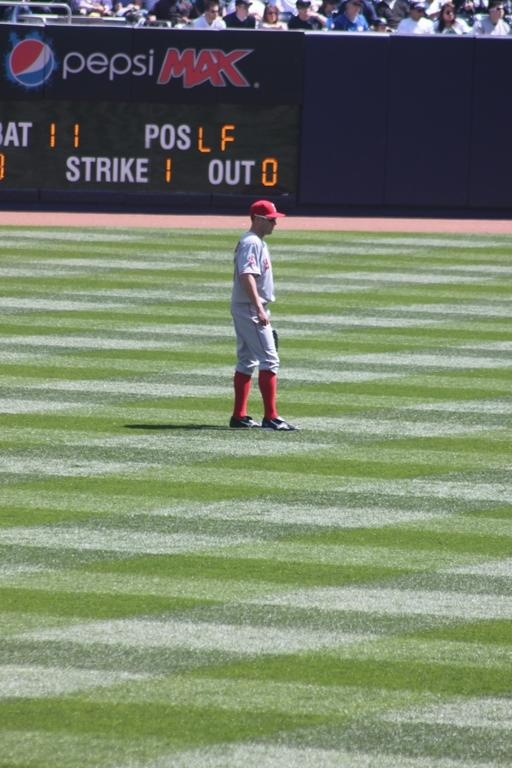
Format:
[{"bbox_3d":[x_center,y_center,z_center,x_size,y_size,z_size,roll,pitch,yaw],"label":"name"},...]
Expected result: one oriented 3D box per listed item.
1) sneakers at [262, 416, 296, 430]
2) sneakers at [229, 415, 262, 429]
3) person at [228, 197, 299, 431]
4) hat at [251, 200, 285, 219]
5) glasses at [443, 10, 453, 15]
[{"bbox_3d":[0.130,0.272,16.290,0.184,0.072,0.105,3,6,1],"label":"sneakers"},{"bbox_3d":[-0.095,0.273,16.388,0.232,0.099,0.089,1,32,-9],"label":"sneakers"},{"bbox_3d":[0.032,-0.478,16.250,0.450,1.598,0.436,3,2,-1],"label":"person"},{"bbox_3d":[0.055,-1.220,16.190,0.199,0.121,0.316,3,1,0],"label":"hat"},{"bbox_3d":[2.360,-4.561,28.298,0.141,0.058,0.070,5,2,41],"label":"glasses"}]
